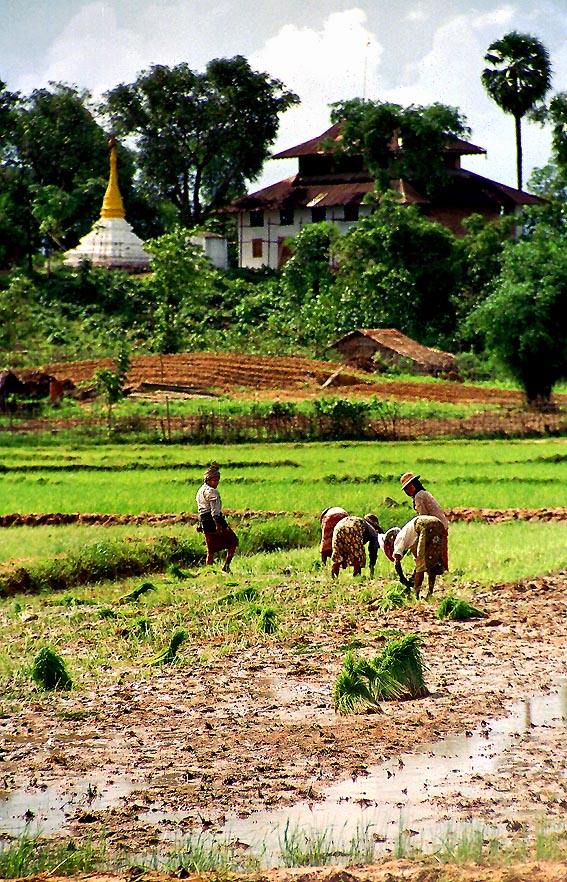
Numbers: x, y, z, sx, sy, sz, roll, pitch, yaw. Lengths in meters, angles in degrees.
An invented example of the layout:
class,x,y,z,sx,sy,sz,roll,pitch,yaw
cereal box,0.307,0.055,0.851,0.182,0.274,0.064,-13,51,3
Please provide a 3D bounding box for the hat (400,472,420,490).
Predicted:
class,x,y,z,sx,sy,sz,roll,pitch,yaw
hat,1.170,0.385,16.556,0.179,0.096,0.183,-40,-4,2

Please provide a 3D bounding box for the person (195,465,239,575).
class,x,y,z,sx,sy,sz,roll,pitch,yaw
person,-0.730,0.822,19.285,0.400,1.167,1.118,0,3,-3

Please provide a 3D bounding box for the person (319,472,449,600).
class,x,y,z,sx,sy,sz,roll,pitch,yaw
person,1.099,0.872,16.631,0.995,1.630,0.767,3,-3,35
